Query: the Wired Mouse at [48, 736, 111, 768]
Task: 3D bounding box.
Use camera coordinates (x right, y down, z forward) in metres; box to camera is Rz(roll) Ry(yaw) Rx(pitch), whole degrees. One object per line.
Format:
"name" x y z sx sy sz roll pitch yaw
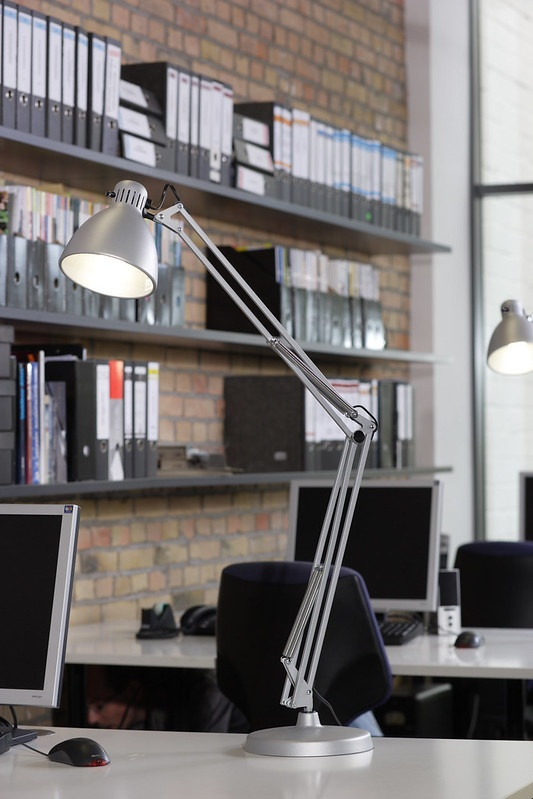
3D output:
"Wired Mouse" -0.304 0.568 1.800 0.074 0.026 0.044 -2 -4 33

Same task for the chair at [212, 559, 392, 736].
"chair" 0.068 0.490 2.286 0.307 0.447 0.360 -2 -13 20

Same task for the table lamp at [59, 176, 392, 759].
"table lamp" -0.072 0.137 2.238 0.576 1.228 0.830 -1 0 6
